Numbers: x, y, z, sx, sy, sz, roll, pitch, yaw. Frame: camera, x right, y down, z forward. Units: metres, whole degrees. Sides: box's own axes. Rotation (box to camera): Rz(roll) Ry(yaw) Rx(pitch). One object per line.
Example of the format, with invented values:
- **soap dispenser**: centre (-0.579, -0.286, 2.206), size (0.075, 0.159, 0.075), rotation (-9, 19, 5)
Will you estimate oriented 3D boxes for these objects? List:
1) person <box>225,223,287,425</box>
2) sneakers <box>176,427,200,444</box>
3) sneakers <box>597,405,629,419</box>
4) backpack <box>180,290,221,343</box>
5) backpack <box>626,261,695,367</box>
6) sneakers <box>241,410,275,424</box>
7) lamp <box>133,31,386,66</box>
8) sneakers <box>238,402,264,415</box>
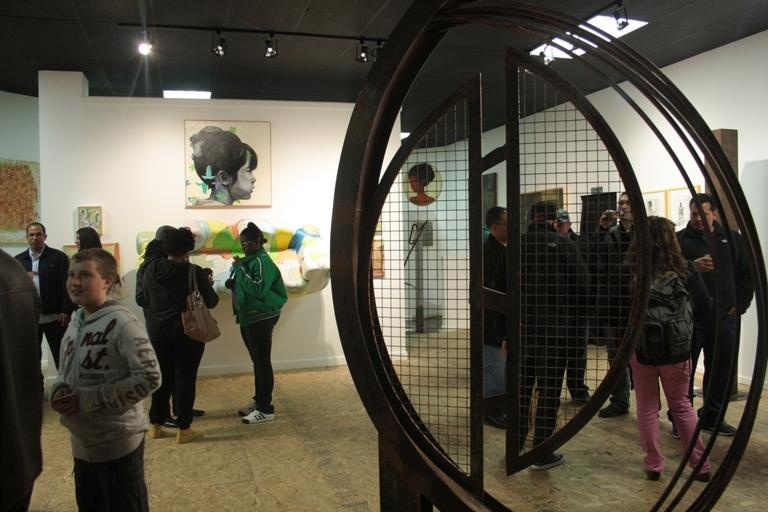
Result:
- **person**: centre (-1.259, 0.640, 5.606), size (0.474, 1.941, 0.578), rotation (-7, 10, -31)
- **sneakers**: centre (-1.782, 1.633, 5.137), size (0.088, 0.191, 0.195), rotation (10, 18, 31)
- **sneakers**: centre (2.183, 1.490, 5.477), size (0.300, 0.135, 0.125), rotation (2, -3, -5)
- **backpack**: centre (-1.615, 0.543, 4.950), size (0.289, 0.466, 0.216), rotation (-5, 9, -21)
- **backpack**: centre (2.086, 0.466, 4.191), size (0.501, 0.675, 0.211), rotation (-4, 9, -15)
- **sneakers**: centre (-1.225, 1.569, 5.534), size (0.318, 0.146, 0.120), rotation (3, -6, -14)
- **lamp**: centre (-1.185, -2.438, 6.539), size (2.370, 0.323, 0.302), rotation (-3, 9, -11)
- **sneakers**: centre (-1.341, 1.516, 5.721), size (0.123, 0.080, 0.218), rotation (2, 7, 26)
